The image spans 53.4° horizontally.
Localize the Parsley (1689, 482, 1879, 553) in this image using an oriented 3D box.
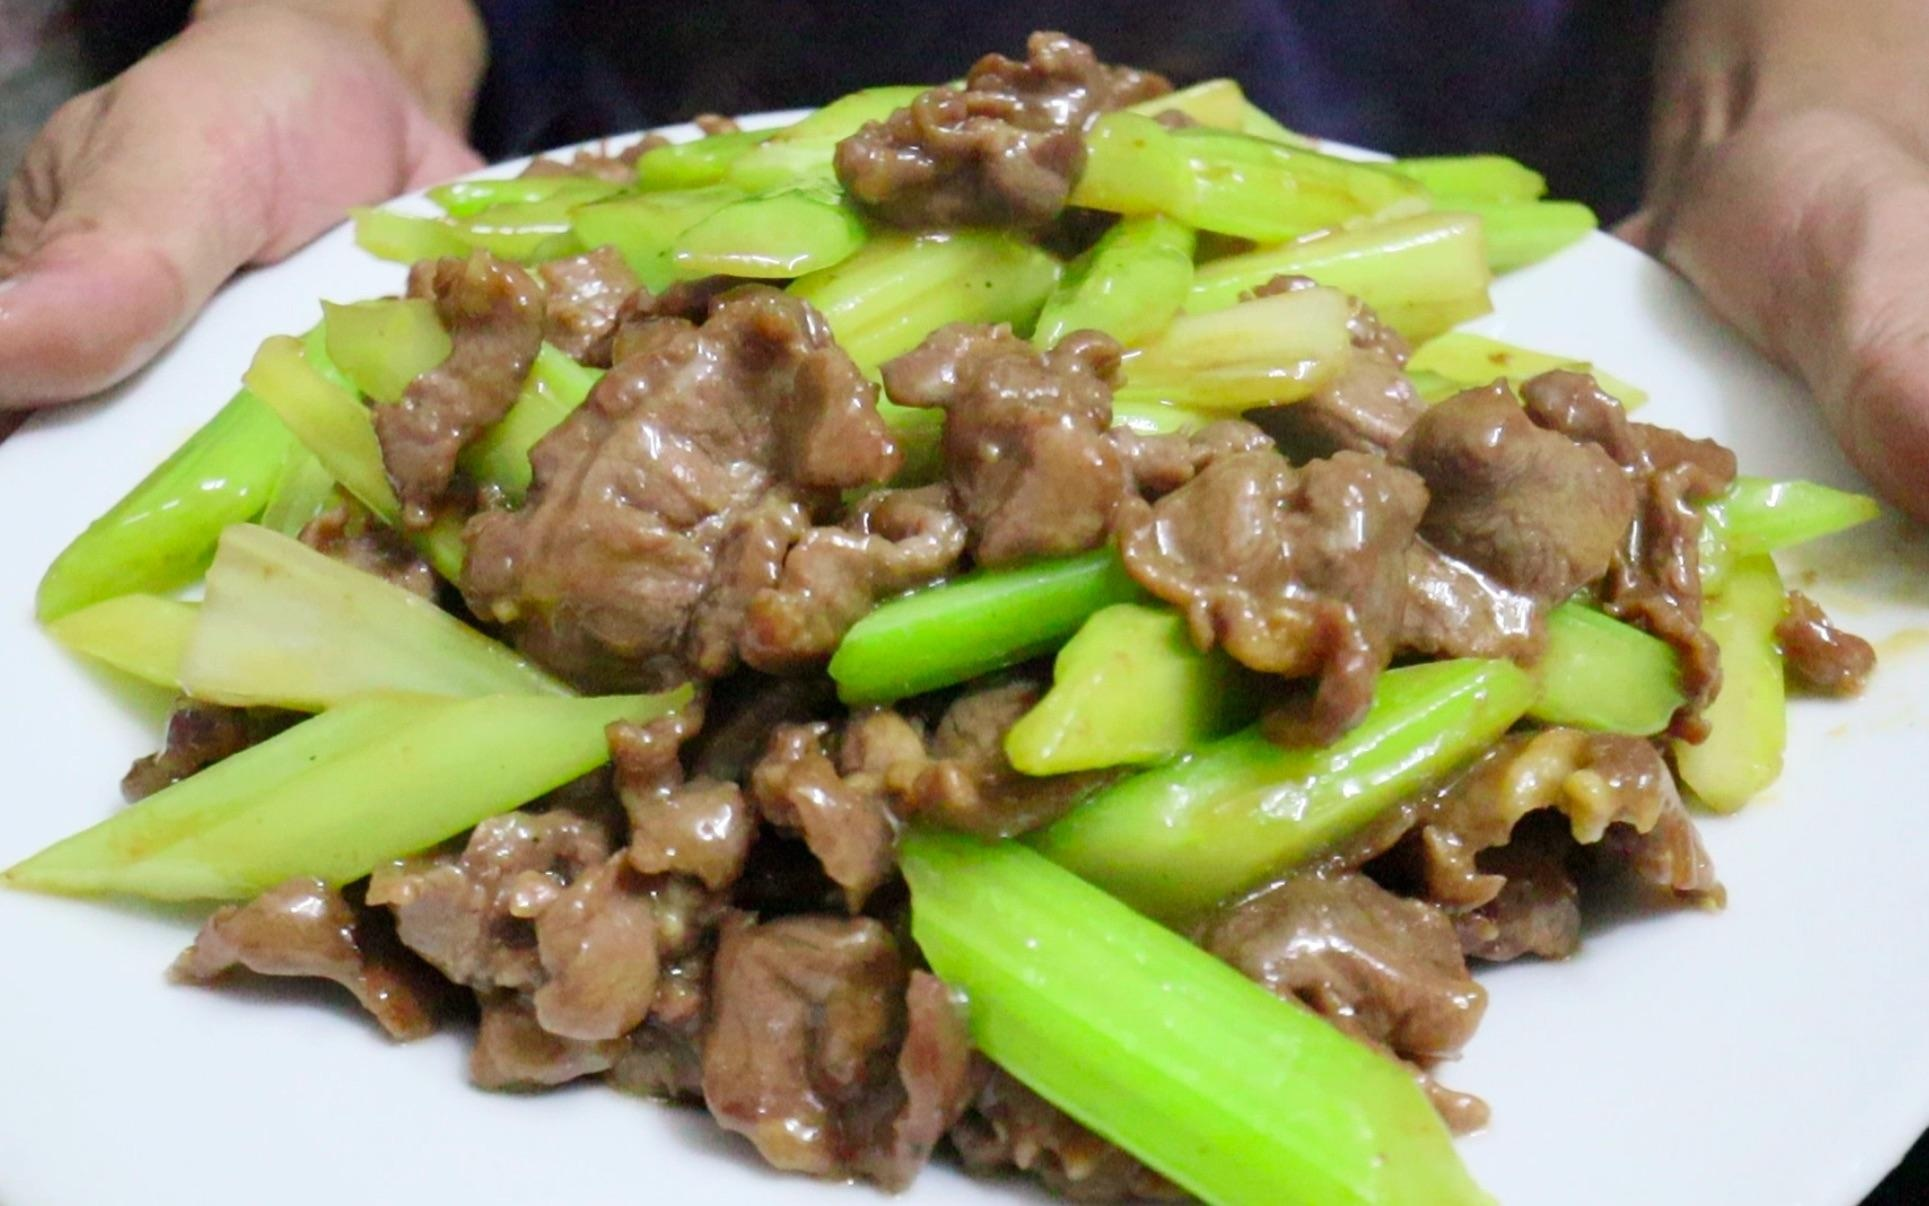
[{"bbox_3d":[1.687,-0.181,3.916,0.280,0.071,0.177,1,58,5],"label":"Parsley"}]
